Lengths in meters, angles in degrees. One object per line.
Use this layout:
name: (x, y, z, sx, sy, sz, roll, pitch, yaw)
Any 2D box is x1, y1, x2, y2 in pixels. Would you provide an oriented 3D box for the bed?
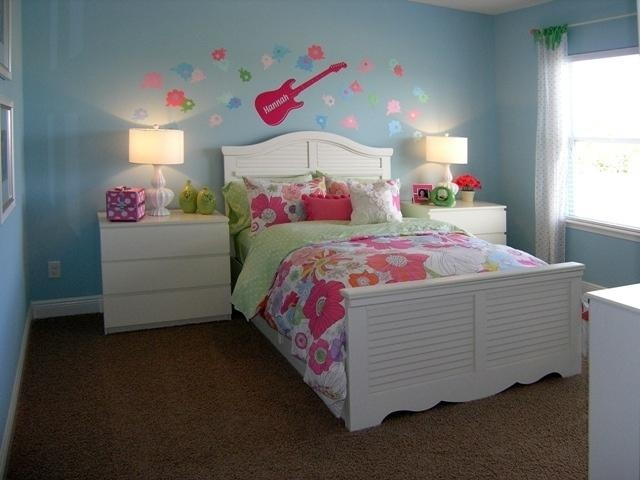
bed: (0.293, -0.092, 3.655, 1.861, 1.921, 2.898, -4, 8, -22)

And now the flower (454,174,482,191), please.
flower: (1.612, -0.614, 4.756, 0.208, 0.157, 0.215, 5, 5, 36)

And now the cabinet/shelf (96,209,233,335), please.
cabinet/shelf: (-1.273, 0.252, 3.822, 1.234, 1.170, 0.868, -2, -1, -24)

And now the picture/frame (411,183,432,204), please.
picture/frame: (1.077, -0.497, 4.643, 0.225, 0.235, 0.023, 1, -7, -4)

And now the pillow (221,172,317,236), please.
pillow: (-0.439, -0.333, 3.899, 0.821, 0.525, 0.250, -7, -13, -1)

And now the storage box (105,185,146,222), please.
storage box: (-1.479, -0.290, 3.468, 0.281, 0.293, 0.288, 1, 4, 9)

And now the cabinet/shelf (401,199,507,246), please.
cabinet/shelf: (1.457, -0.221, 4.501, 0.692, 0.658, 0.503, -3, 4, -27)

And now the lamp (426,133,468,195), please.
lamp: (1.363, -0.798, 4.675, 0.406, 0.612, 0.396, 4, 10, 22)

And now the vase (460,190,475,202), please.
vase: (1.597, -0.480, 4.748, 0.135, 0.099, 0.136, 1, 4, 1)
